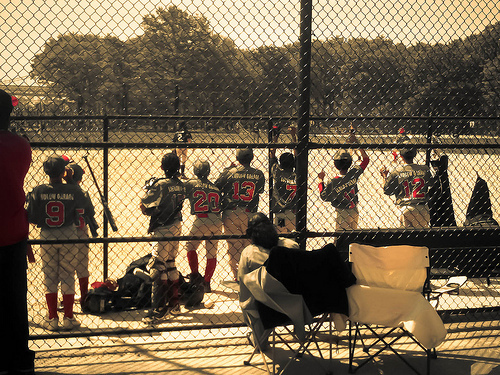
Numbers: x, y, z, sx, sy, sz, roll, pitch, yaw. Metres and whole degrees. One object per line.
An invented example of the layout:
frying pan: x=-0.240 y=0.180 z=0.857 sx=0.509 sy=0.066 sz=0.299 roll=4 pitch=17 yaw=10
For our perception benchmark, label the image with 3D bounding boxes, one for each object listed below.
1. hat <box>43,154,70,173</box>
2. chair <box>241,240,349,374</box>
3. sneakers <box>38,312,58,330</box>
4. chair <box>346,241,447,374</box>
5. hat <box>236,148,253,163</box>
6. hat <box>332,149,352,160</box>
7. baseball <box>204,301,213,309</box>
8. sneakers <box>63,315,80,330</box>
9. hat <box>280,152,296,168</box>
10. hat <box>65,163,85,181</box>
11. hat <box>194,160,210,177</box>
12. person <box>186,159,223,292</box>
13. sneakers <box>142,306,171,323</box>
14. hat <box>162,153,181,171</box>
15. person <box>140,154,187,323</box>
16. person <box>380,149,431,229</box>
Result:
hat: x=-2.929 y=-0.366 z=12.971 sx=0.242 sy=0.200 sz=0.379 roll=12 pitch=41 yaw=26
chair: x=0.573 y=1.652 z=12.348 sx=1.875 sy=2.159 sz=1.627 roll=1 pitch=-6 yaw=-12
sneakers: x=-3.026 y=2.041 z=12.733 sx=0.180 sy=0.200 sz=0.462 roll=2 pitch=-6 yaw=-41
chair: x=2.070 y=1.702 z=12.394 sx=1.769 sy=2.246 sz=1.623 roll=0 pitch=-9 yaw=14
hat: x=-0.072 y=-0.516 z=13.983 sx=0.194 sy=0.270 sz=0.262 roll=0 pitch=9 yaw=-15
hat: x=1.567 y=-0.564 z=14.516 sx=0.291 sy=0.215 sz=0.331 roll=-2 pitch=-4 yaw=5
baseball: x=-0.658 y=1.879 z=13.547 sx=0.170 sy=0.109 sz=0.252 roll=-1 pitch=-4 yaw=-6
sneakers: x=-2.671 y=2.036 z=12.726 sx=0.143 sy=0.185 sz=0.273 roll=-5 pitch=-5 yaw=39
hat: x=0.610 y=-0.455 z=14.186 sx=0.242 sy=0.290 sz=0.201 roll=-1 pitch=-4 yaw=-5
hat: x=-2.718 y=-0.242 z=13.374 sx=0.312 sy=0.264 sz=0.444 roll=4 pitch=0 yaw=0
hat: x=-0.779 y=-0.307 z=13.943 sx=0.215 sy=0.280 sz=0.284 roll=0 pitch=5 yaw=-7
person: x=-0.754 y=0.632 z=13.832 sx=0.509 sy=2.157 sz=0.754 roll=-4 pitch=-5 yaw=38
sneakers: x=-1.415 y=1.951 z=12.962 sx=0.446 sy=0.187 sz=0.176 roll=-19 pitch=42 yaw=-19
hat: x=-1.222 y=-0.409 z=13.217 sx=0.231 sy=0.297 sz=0.281 roll=0 pitch=27 yaw=-4
person: x=-1.318 y=0.749 z=13.154 sx=0.773 sy=2.654 sz=0.595 roll=1 pitch=-5 yaw=-27
person: x=2.662 y=0.005 z=14.471 sx=0.822 sy=1.333 sz=0.514 roll=-2 pitch=-4 yaw=12
